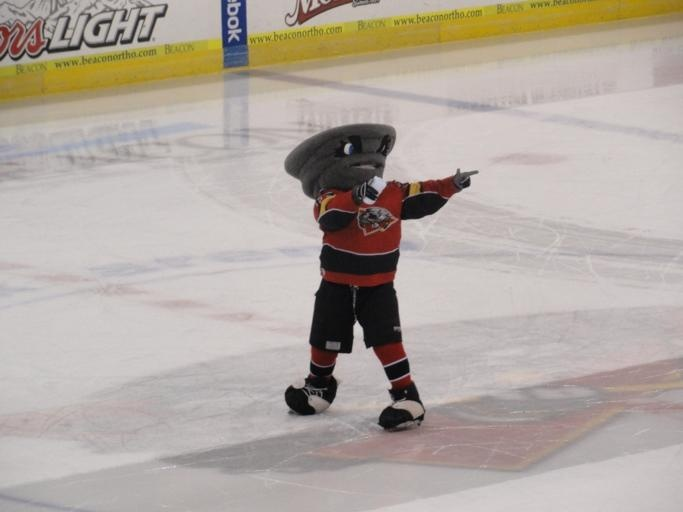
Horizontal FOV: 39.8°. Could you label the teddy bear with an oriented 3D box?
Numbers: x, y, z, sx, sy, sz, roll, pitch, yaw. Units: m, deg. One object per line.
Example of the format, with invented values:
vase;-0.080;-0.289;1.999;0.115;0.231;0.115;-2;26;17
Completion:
teddy bear;0.119;0.052;3.773;0.717;1.143;0.760;-1;18;1
